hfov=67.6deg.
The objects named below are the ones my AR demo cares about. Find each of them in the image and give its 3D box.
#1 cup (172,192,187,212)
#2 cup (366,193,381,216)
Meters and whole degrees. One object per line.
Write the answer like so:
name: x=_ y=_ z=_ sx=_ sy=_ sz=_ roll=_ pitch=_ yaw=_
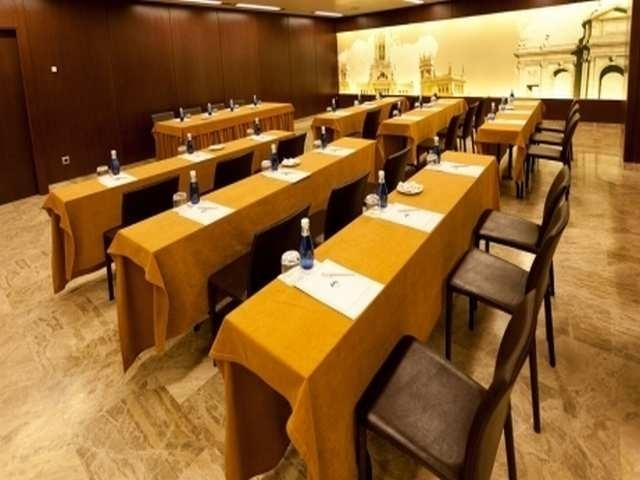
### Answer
cup: x=-1.327 y=-0.348 z=4.475 sx=0.111 sy=0.205 sz=0.107 roll=3 pitch=33 yaw=-2
cup: x=0.461 y=-0.299 z=4.147 sx=0.107 sy=0.214 sz=0.108 roll=0 pitch=33 yaw=0
